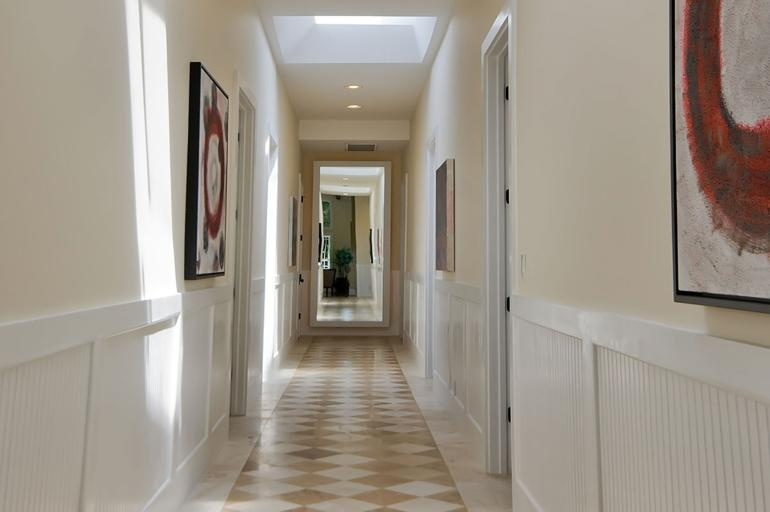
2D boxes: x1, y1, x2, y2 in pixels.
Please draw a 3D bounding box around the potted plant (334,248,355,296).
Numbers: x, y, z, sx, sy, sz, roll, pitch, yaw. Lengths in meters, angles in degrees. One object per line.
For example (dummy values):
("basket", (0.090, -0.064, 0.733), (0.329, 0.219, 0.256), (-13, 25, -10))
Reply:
("potted plant", (-1.597, 0.568, 20.300), (0.801, 1.865, 0.583), (0, 1, -17))
